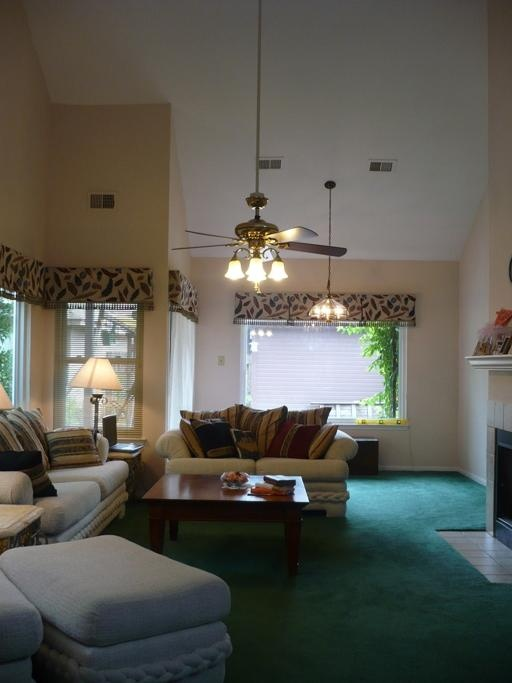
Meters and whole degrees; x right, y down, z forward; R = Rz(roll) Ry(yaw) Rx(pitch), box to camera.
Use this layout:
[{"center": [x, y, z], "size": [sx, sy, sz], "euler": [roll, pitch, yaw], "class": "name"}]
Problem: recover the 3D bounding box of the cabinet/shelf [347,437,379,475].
[{"center": [1.252, 1.320, 6.824], "size": [0.539, 0.464, 0.512], "euler": [0, -4, 2], "class": "cabinet/shelf"}]
